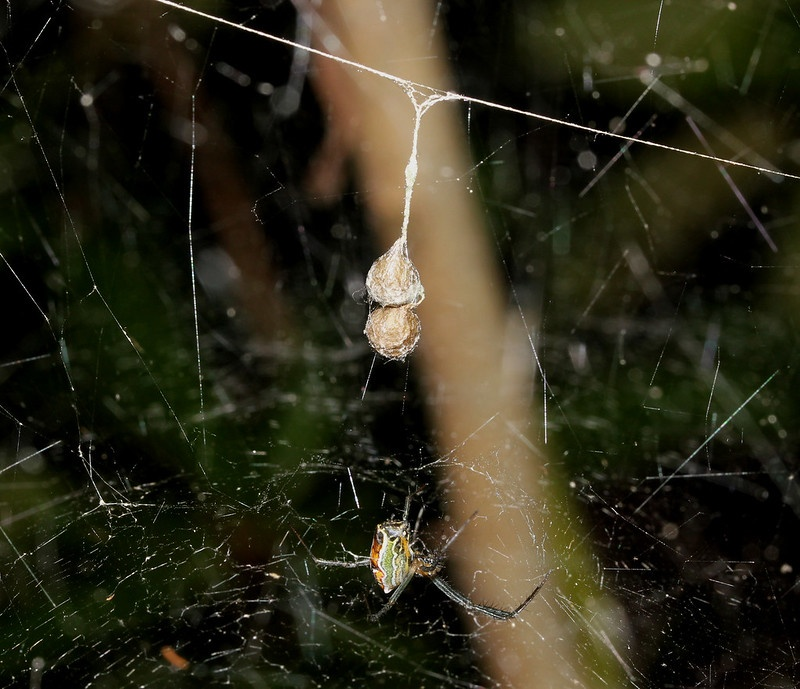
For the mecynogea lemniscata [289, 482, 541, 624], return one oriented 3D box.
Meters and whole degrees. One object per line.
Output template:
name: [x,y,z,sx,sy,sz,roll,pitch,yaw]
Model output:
mecynogea lemniscata: [0.149,0.659,2.662,0.475,0.278,0.272,4,40,0]
